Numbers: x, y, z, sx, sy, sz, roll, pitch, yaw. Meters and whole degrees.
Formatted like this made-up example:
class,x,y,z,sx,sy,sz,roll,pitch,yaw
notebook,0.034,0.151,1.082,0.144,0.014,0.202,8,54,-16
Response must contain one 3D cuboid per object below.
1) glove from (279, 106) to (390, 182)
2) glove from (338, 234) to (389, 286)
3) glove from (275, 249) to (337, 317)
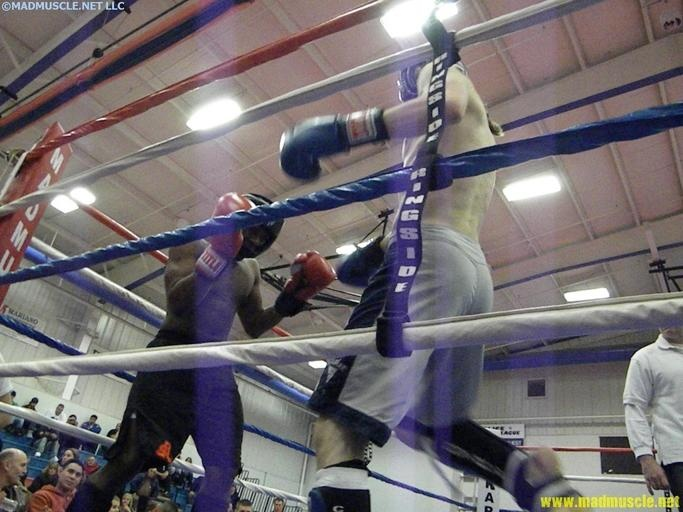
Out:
class,x,y,z,sx,sy,sz,roll,pitch,yaw
glove,-0.038,-0.380,1.566,0.337,0.132,0.213,-5,-44,19
glove,0.077,0.020,1.775,0.223,0.132,0.084,-29,-13,19
glove,-0.179,0.122,2.252,0.363,0.137,0.217,-38,-82,18
